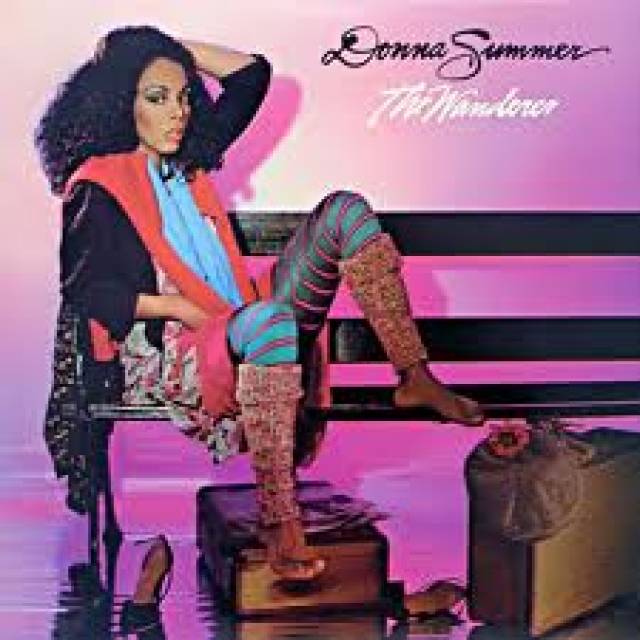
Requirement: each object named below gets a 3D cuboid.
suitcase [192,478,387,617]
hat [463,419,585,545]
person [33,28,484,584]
[{"bbox_3d":[-0.083,0.466,2.246,0.438,0.131,0.362,-1,9,-18],"label":"suitcase"},{"bbox_3d":[0.473,0.367,2.149,0.257,0.240,0.114,-5,1,6],"label":"hat"},{"bbox_3d":[-0.157,-0.098,2.349,1.146,0.923,0.650,26,38,21],"label":"person"}]
